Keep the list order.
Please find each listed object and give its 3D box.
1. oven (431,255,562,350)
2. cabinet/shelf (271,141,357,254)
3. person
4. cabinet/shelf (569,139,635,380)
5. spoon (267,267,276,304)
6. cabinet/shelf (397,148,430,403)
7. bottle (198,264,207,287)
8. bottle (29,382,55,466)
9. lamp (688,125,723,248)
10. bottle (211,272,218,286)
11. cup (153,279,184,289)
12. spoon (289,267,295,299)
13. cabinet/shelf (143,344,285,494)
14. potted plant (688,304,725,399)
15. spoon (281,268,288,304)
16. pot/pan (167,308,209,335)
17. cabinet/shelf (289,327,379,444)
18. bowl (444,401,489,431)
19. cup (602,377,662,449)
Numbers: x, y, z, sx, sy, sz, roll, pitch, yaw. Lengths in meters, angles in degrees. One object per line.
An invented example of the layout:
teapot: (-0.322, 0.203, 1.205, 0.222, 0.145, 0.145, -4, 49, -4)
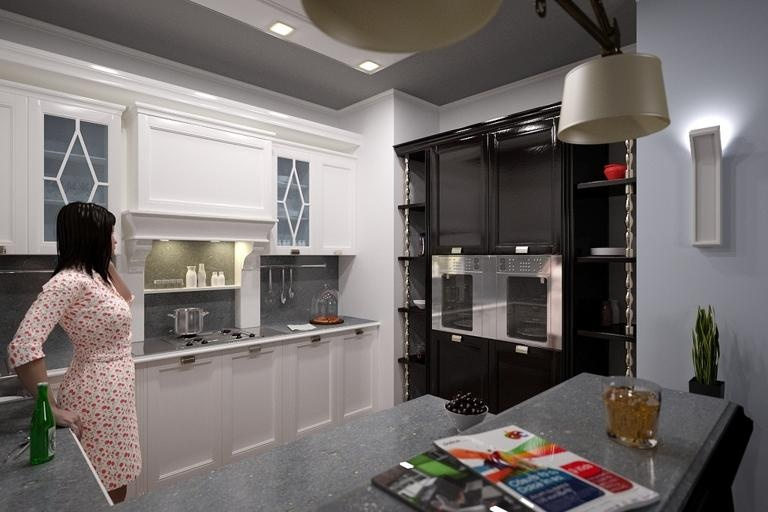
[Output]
oven: (1.021, 0.350, 4.175, 1.240, 0.702, 0.404, 1, 1, 43)
cabinet/shelf: (-0.710, -0.565, 4.589, 1.129, 1.045, 0.435, 3, -6, -42)
person: (-1.733, 0.560, 2.674, 0.598, 1.654, 0.249, -2, 0, -37)
cabinet/shelf: (1.742, 0.025, 3.726, 0.440, 1.924, 0.663, -2, 0, 28)
spoon: (-1.097, 0.284, 4.597, 0.074, 0.275, 0.045, -2, 7, -28)
cabinet/shelf: (0.348, 0.349, 4.773, 0.370, 2.695, 0.436, 3, 5, 27)
bottle: (-1.587, 0.163, 4.138, 0.070, 0.202, 0.152, -2, 0, -21)
bottle: (-1.642, 0.788, 2.276, 0.102, 0.359, 0.178, -2, 0, -36)
lamp: (1.981, -0.418, 2.924, 0.155, 0.767, 0.118, -2, 0, 31)
bottle: (-1.498, 0.200, 4.198, 0.056, 0.133, 0.121, -2, 0, -21)
cup: (-1.802, 0.226, 3.992, 0.247, 0.079, 0.060, -2, 0, -38)
spoon: (-0.928, 0.269, 4.764, 0.029, 0.304, 0.074, -2, 0, 15)
cabinet/shelf: (-1.261, 1.131, 3.366, 1.023, 0.813, 0.400, 3, -7, -43)
potted plant: (1.961, 0.570, 2.886, 0.168, 0.560, 0.320, -2, 0, 35)
spoon: (-0.993, 0.295, 4.704, 0.024, 0.364, 0.075, -2, 0, 42)
pot/pan: (-1.623, 0.548, 4.007, 0.315, 0.193, 0.206, 1, -2, -35)
cabinet/shelf: (-0.470, 1.075, 4.029, 0.973, 0.852, 0.404, 0, -3, -41)
bowl: (0.391, 0.756, 2.337, 0.161, 0.103, 0.156, 0, -5, 0)
cup: (1.051, 0.679, 2.140, 0.259, 0.294, 0.283, 0, -2, 0)
